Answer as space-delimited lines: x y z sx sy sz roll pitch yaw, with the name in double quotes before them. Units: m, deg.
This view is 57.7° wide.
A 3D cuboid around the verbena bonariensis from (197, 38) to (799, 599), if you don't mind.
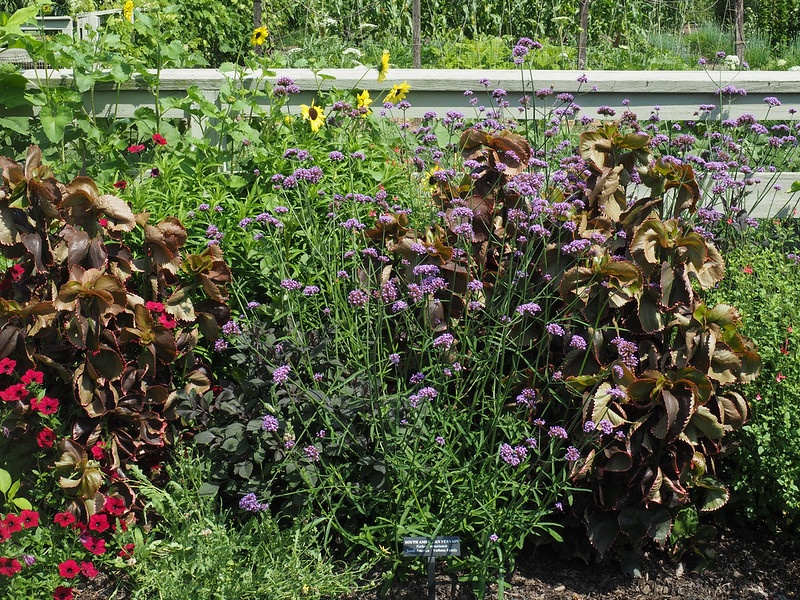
"verbena bonariensis" 0.668 0.293 3.925 2.036 1.537 2.346 0 72 -3
